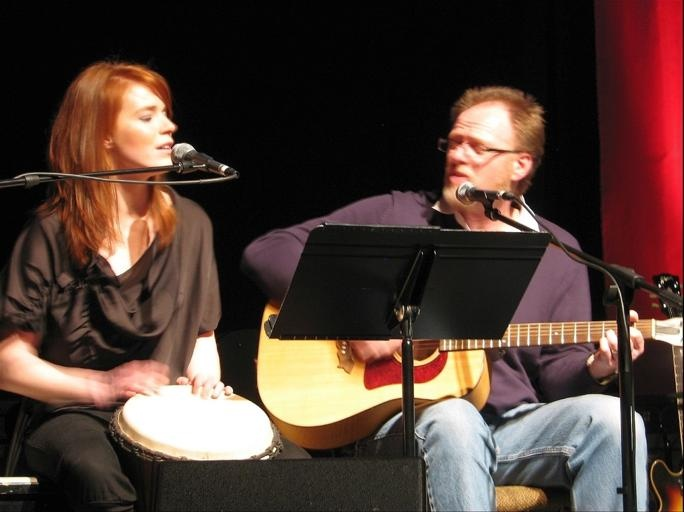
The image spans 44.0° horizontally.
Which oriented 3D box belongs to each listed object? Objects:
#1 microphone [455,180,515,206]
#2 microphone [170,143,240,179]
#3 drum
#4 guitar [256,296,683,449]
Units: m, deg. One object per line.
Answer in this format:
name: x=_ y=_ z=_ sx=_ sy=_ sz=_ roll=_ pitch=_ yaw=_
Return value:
microphone: x=0.592 y=-0.244 z=3.459 sx=0.092 sy=0.075 sz=0.278 roll=23 pitch=-8 yaw=-26
microphone: x=-0.553 y=-0.362 z=3.367 sx=0.124 sy=0.109 sz=0.336 roll=-4 pitch=21 yaw=-39
drum: x=-0.620 y=0.844 z=3.405 sx=0.600 sy=0.297 sz=0.582 roll=14 pitch=6 yaw=-1
guitar: x=0.540 y=0.564 z=3.850 sx=1.913 sy=0.260 sz=0.742 roll=-2 pitch=52 yaw=2
